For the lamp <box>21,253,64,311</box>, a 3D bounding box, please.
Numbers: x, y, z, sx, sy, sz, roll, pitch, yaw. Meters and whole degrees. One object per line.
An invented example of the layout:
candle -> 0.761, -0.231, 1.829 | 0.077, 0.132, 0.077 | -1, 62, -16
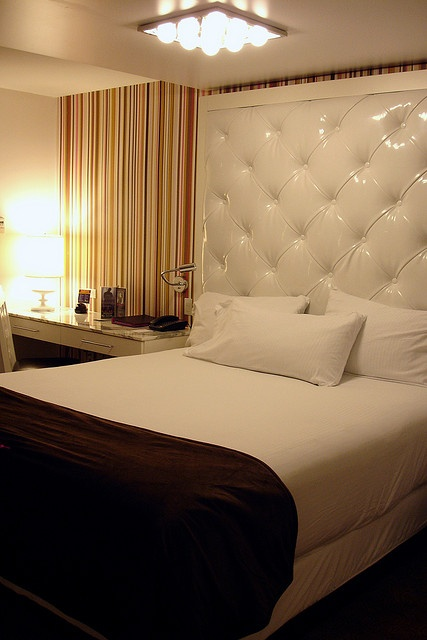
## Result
lamp -> -1.476, -0.301, 4.009 | 0.355, 0.573, 0.366 | 5, 8, 22

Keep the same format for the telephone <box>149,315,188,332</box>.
telephone -> -0.321, 0.034, 3.168 | 0.135, 0.054, 0.146 | -13, 7, 26
